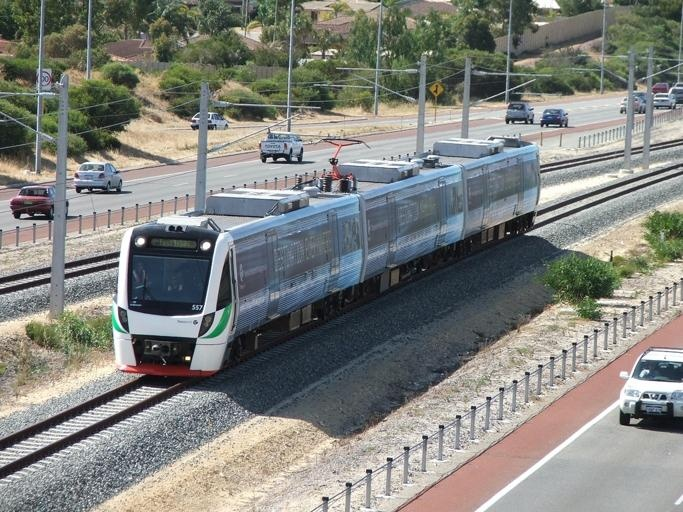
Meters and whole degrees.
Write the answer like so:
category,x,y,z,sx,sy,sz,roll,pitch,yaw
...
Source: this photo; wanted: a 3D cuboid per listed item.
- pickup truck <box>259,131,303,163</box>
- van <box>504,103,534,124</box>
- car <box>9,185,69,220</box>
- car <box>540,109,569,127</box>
category,x,y,z,sx,sy,sz,roll,pitch,yaw
pickup truck,-3.878,-7.229,71.912,1.727,1.196,2.773,1,4,12
van,15.688,-12.453,95.212,1.549,1.256,2.489,-1,3,15
car,-14.284,-2.419,50.675,1.926,1.482,1.875,-4,14,-14
car,18.126,-11.509,92.008,2.096,1.498,2.163,3,14,13
